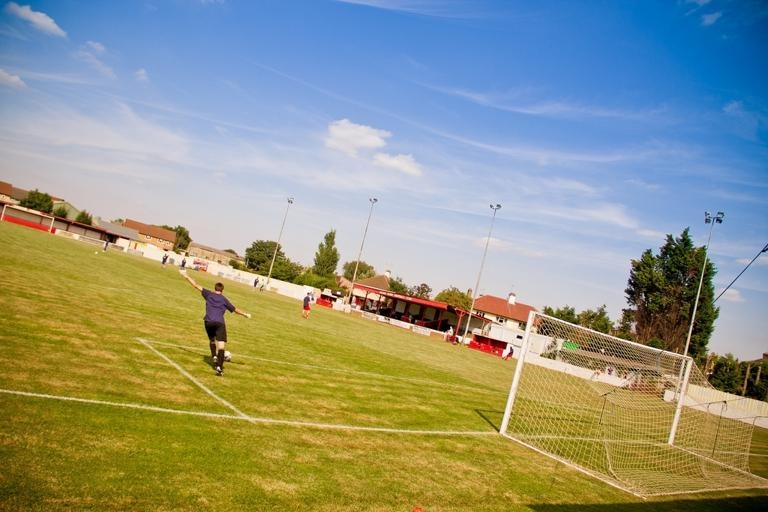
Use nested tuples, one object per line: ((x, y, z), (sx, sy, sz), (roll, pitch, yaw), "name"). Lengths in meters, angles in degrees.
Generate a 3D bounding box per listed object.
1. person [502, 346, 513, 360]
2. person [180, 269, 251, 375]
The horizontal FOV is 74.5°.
((11.626, 8.934, 47.215), (0.889, 1.169, 3.447), (14, -1, 15), "person")
((-4.630, 1.910, 13.932), (1.105, 2.886, 1.130), (16, -2, -15), "person")
